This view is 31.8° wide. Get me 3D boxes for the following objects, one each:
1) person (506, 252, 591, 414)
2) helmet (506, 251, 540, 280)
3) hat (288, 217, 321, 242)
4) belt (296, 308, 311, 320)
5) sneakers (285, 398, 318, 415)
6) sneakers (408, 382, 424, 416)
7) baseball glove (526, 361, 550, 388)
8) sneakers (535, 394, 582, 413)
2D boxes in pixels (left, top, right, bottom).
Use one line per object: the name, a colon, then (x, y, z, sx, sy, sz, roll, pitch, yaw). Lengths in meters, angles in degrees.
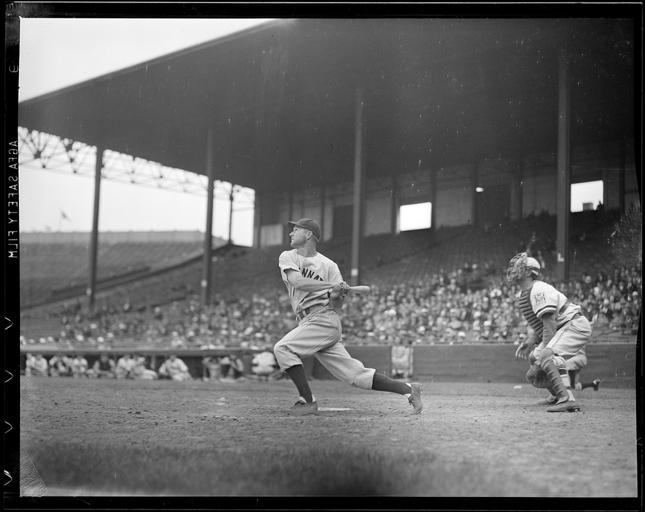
person: (1.998, 0.666, 9.999, 0.748, 1.465, 0.630, -4, -33, 13)
helmet: (1.764, 0.099, 10.029, 0.265, 0.273, 0.203, 10, -9, 11)
hat: (-0.167, -0.237, 9.940, 0.244, 0.138, 0.174, 18, -1, 0)
belt: (-0.167, 0.503, 9.645, 0.097, 0.036, 0.070, -33, -18, 20)
sneakers: (-0.174, 1.264, 9.568, 0.283, 0.124, 0.107, -1, -9, 2)
sneakers: (0.782, 1.199, 9.567, 0.132, 0.286, 0.095, -12, -1, 4)
baseball glove: (1.881, 1.044, 9.917, 0.152, 0.205, 0.199, -6, 5, -2)
sneakers: (2.013, 1.254, 9.686, 0.390, 0.142, 0.261, 0, -2, 5)
